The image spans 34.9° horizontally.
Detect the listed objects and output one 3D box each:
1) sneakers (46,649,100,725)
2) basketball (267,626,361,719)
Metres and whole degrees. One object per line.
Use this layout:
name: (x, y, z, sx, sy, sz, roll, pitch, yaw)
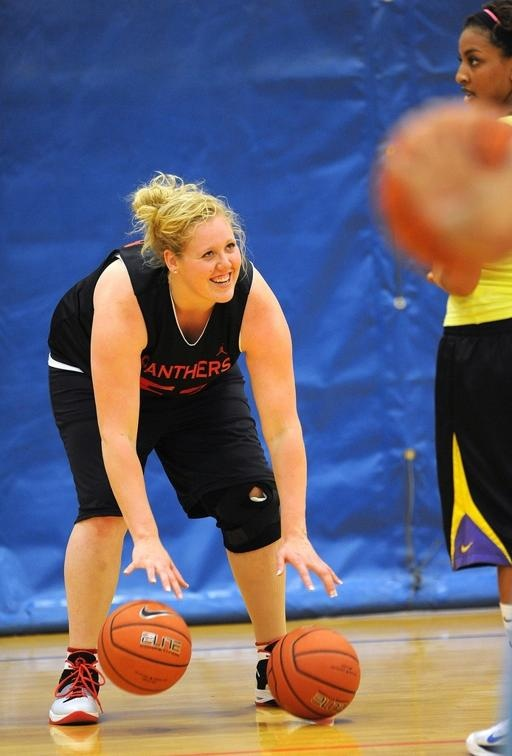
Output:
sneakers: (-0.349, 0.611, 1.591, 0.081, 0.088, 0.173, 2, -12, -10)
basketball: (0.101, 0.532, 1.443, 0.156, 0.148, 0.123, -8, 18, -4)
